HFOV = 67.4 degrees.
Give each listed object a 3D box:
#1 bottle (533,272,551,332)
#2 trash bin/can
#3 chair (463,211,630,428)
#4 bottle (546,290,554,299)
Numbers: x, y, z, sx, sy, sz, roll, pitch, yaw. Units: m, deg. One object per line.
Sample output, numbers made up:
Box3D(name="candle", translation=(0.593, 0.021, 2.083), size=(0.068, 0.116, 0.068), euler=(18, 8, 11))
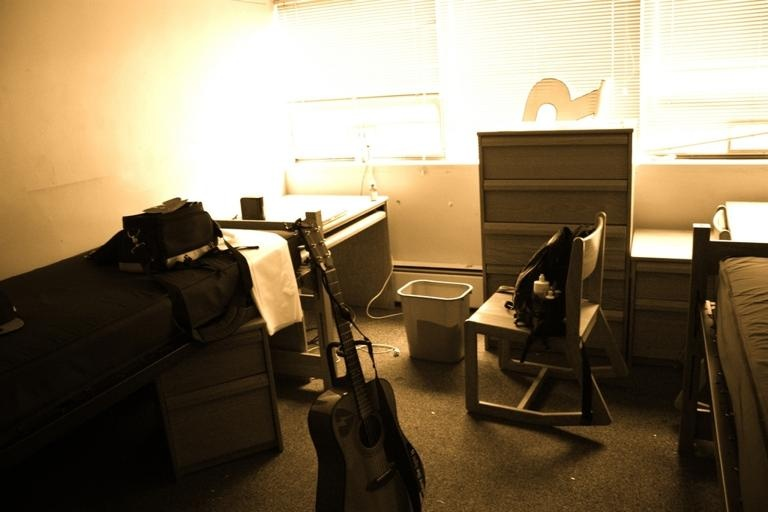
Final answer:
Box3D(name="bottle", translation=(0.884, 0.254, 3.240), size=(0.094, 0.281, 0.148), euler=(3, 17, 15))
Box3D(name="trash bin/can", translation=(0.413, 0.361, 4.117), size=(0.683, 0.562, 0.512), euler=(0, 5, 20))
Box3D(name="chair", translation=(1.067, 0.224, 3.932), size=(1.259, 1.638, 1.059), euler=(7, 19, 22))
Box3D(name="bottle", translation=(0.927, 0.218, 3.217), size=(0.046, 0.035, 0.048), euler=(-1, 16, 0))
